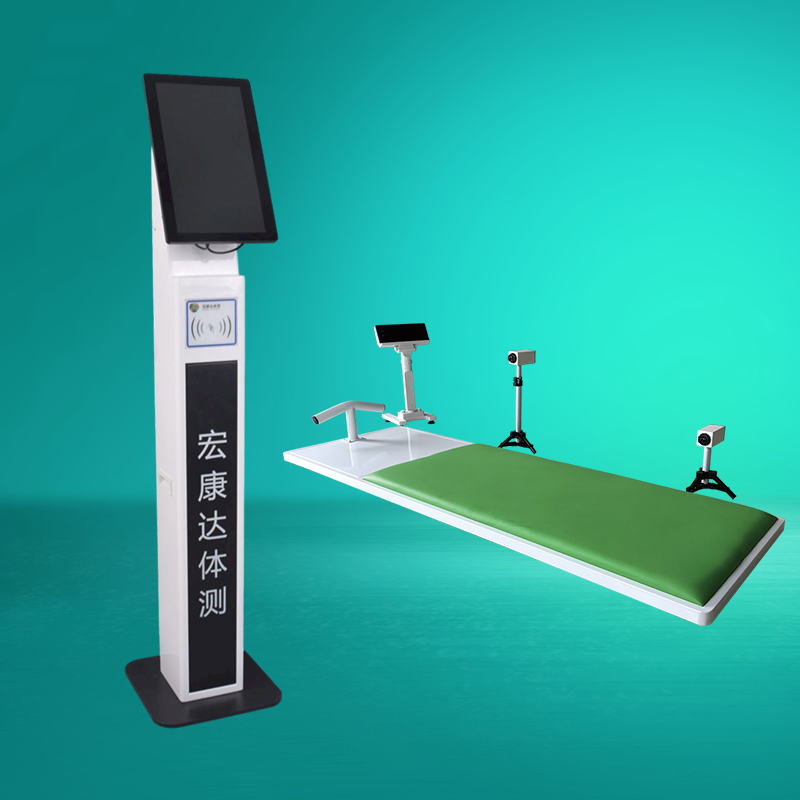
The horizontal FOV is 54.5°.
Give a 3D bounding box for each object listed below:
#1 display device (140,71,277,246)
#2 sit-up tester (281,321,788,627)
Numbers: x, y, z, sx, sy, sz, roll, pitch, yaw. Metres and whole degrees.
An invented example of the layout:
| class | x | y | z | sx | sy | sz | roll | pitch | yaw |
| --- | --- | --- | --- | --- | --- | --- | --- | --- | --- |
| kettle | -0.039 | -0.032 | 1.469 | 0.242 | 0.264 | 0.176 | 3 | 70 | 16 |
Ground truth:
| class | x | y | z | sx | sy | sz | roll | pitch | yaw |
| --- | --- | --- | --- | --- | --- | --- | --- | --- | --- |
| display device | -0.623 | -0.787 | 2.540 | 0.354 | 0.547 | 0.274 | -9 | 15 | -13 |
| sit-up tester | 0.551 | 0.246 | 4.632 | 3.008 | 0.916 | 1.484 | 4 | 8 | 44 |
